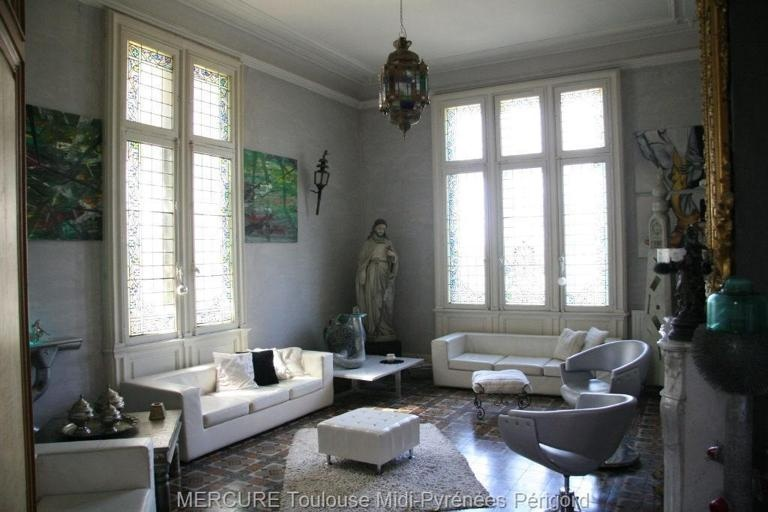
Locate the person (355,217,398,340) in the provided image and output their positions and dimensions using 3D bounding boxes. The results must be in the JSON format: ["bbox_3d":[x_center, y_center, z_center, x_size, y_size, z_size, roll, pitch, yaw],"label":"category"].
[{"bbox_3d":[-0.099,0.384,9.215,0.646,1.956,0.388,-3,5,-19],"label":"person"}]

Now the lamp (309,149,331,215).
[{"bbox_3d":[-0.971,-1.175,9.077,0.200,1.044,0.495,0,5,18],"label":"lamp"}]

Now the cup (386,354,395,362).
[{"bbox_3d":[0.097,1.441,8.072,0.112,0.076,0.107,0,0,0],"label":"cup"}]

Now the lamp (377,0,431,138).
[{"bbox_3d":[0.190,-1.664,5.431,0.466,0.886,0.284,-1,5,0],"label":"lamp"}]

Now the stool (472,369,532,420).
[{"bbox_3d":[1.401,1.712,7.152,0.712,0.381,0.796,-1,-10,-3],"label":"stool"}]

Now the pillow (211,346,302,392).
[{"bbox_3d":[-1.523,1.365,6.879,0.803,0.467,0.239,-4,-4,-44],"label":"pillow"}]

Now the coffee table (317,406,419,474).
[{"bbox_3d":[-0.162,1.880,5.836,0.827,0.428,0.867,-2,-5,22],"label":"coffee table"}]

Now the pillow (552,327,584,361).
[{"bbox_3d":[2.575,1.287,7.962,0.282,0.439,0.525,17,-13,-23],"label":"pillow"}]

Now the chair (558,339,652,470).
[{"bbox_3d":[2.383,1.509,5.997,0.867,1.102,0.910,-2,-1,-11],"label":"chair"}]
